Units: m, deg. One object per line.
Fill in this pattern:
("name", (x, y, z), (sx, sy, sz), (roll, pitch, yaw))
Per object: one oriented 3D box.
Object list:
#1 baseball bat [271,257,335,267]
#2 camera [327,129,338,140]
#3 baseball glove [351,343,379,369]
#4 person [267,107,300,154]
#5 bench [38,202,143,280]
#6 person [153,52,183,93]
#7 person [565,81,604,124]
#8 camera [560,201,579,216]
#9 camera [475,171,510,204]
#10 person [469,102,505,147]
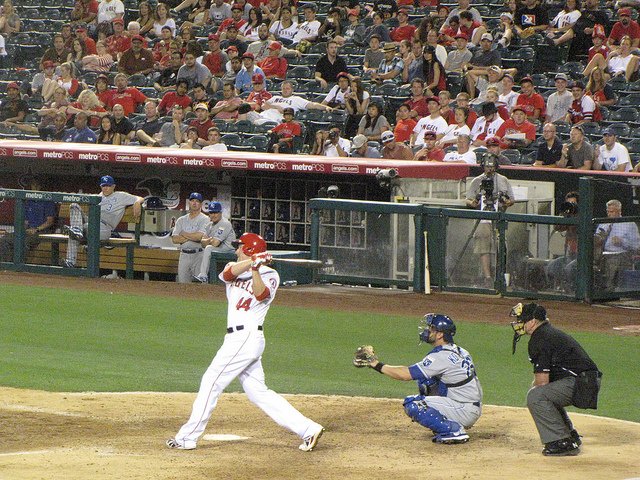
("baseball bat", (-0.365, 0.370, 28.050), (1.097, 0.163, 0.156), (4, -41, 4))
("camera", (0.194, -2.076, 31.743), (0.143, 0.184, 0.287), (2, -2, -34))
("baseball glove", (0.647, 1.694, 23.652), (0.330, 0.306, 0.223), (1, -2, -8))
("person", (-0.734, -2.219, 32.810), (0.597, 0.907, 0.397), (1, -2, 5))
("bench", (-4.473, -0.058, 31.558), (1.954, 1.224, 0.800), (4, 11, 18))
("person", (-3.357, -3.725, 36.086), (0.707, 0.953, 0.753), (6, 15, 14))
("person", (5.062, -2.702, 31.846), (0.819, 0.852, 0.708), (-9, 5, -26))
("camera", (4.498, -0.573, 29.288), (0.292, 0.289, 0.216), (-5, 12, -37))
("camera", (3.121, -0.965, 29.672), (0.534, 0.275, 0.662), (0, -8, 8))
("person", (3.217, -2.235, 31.561), (0.603, 0.828, 0.746), (1, -2, -24))
